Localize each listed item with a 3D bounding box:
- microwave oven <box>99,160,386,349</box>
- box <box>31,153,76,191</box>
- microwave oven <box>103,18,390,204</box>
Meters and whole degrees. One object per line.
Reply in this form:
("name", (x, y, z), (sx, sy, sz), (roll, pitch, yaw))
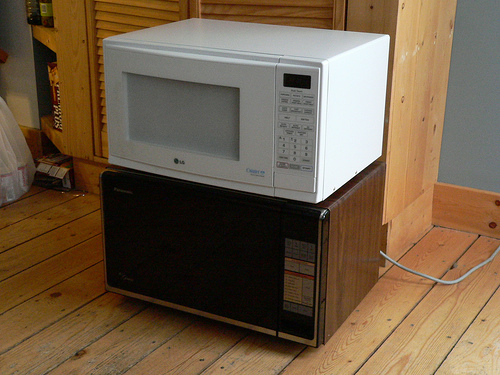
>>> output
("microwave oven", (-0.014, 0.150, 1.827), (0.842, 0.484, 0.611), (11, 21, 32))
("box", (-0.978, -0.070, 2.619), (0.202, 0.130, 0.145), (13, 21, 15))
("microwave oven", (-0.026, -0.283, 1.661), (0.717, 0.410, 0.517), (12, 26, 25))
